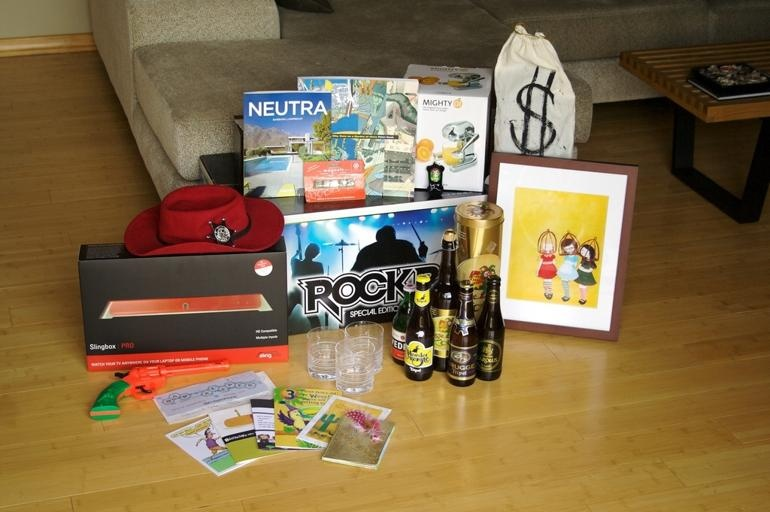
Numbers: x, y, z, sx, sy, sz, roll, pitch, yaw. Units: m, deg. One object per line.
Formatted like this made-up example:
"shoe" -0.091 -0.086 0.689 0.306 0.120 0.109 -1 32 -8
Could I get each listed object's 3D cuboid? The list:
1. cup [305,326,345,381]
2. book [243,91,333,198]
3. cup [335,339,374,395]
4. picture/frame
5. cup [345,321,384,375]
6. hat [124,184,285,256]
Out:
"cup" -0.196 0.325 2.076 0.171 0.155 0.152 5 17 15
"book" -0.339 -0.384 2.083 0.330 0.345 0.158 -4 39 -4
"cup" -0.094 0.365 1.980 0.148 0.140 0.177 -1 15 -8
"picture/frame" 0.605 -0.035 2.141 0.501 0.560 0.347 5 39 8
"cup" -0.066 0.299 2.044 0.176 0.159 0.154 -2 16 -10
"hat" -0.584 -0.086 1.950 0.408 0.100 0.281 -2 32 2
